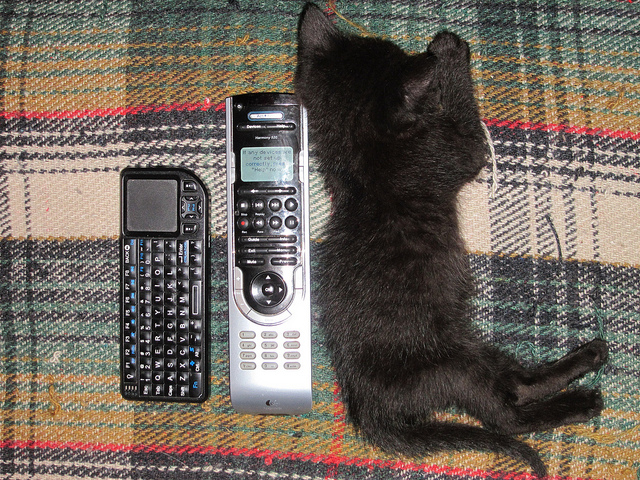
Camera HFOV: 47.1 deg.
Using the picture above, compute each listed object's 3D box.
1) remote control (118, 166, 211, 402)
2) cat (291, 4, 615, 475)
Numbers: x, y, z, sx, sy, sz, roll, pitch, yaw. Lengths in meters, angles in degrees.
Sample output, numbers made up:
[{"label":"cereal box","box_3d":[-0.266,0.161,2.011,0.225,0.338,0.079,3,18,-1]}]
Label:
[{"label":"remote control","box_3d":[-0.254,0.077,1.197,0.145,0.381,0.144,0,18,-8]},{"label":"cat","box_3d":[0.221,0.000,1.188,0.536,0.729,0.267,1,18,-3]}]
